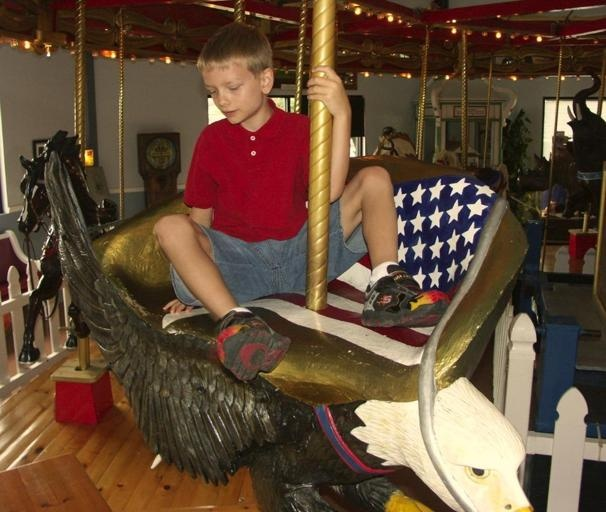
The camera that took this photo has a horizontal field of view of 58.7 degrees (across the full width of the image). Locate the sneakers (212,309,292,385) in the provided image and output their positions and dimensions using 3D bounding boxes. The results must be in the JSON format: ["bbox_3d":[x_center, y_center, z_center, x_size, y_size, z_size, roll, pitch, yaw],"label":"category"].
[{"bbox_3d":[-0.094,0.168,0.973,0.086,0.058,0.138,-41,41,-12],"label":"sneakers"}]

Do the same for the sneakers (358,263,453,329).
[{"bbox_3d":[0.213,0.087,1.139,0.163,0.128,0.102,-6,0,15],"label":"sneakers"}]

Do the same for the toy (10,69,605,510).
[{"bbox_3d":[-0.025,0.068,1.059,0.678,0.345,0.822,3,15,23],"label":"toy"}]

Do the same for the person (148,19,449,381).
[{"bbox_3d":[0.039,-0.170,1.345,0.591,0.827,0.809,-14,27,-15],"label":"person"}]
